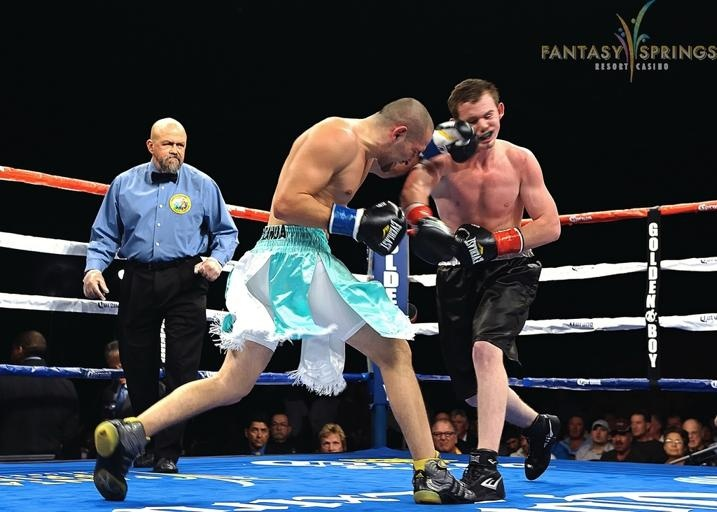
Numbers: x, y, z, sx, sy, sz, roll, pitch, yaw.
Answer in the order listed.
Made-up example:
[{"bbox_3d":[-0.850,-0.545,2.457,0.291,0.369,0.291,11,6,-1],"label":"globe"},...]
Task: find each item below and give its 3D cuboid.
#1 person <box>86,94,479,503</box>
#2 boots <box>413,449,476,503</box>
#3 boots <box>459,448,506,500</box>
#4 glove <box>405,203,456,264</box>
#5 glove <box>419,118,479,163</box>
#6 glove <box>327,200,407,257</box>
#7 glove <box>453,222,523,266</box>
[{"bbox_3d":[-0.274,0.199,3.365,1.498,1.753,0.368,-2,0,0],"label":"person"},{"bbox_3d":[0.407,1.019,3.236,0.366,0.204,0.117,8,-12,-35],"label":"boots"},{"bbox_3d":[0.530,1.031,3.355,0.353,0.217,0.116,6,-15,-33],"label":"boots"},{"bbox_3d":[0.341,-0.120,3.652,0.191,0.118,0.304,15,22,-23],"label":"glove"},{"bbox_3d":[0.464,-0.596,3.782,0.270,0.190,0.120,-25,-6,1],"label":"glove"},{"bbox_3d":[0.028,-0.160,3.355,0.378,0.133,0.252,18,38,3],"label":"glove"},{"bbox_3d":[0.645,-0.078,3.746,0.464,0.157,0.237,-2,44,-5],"label":"glove"}]
